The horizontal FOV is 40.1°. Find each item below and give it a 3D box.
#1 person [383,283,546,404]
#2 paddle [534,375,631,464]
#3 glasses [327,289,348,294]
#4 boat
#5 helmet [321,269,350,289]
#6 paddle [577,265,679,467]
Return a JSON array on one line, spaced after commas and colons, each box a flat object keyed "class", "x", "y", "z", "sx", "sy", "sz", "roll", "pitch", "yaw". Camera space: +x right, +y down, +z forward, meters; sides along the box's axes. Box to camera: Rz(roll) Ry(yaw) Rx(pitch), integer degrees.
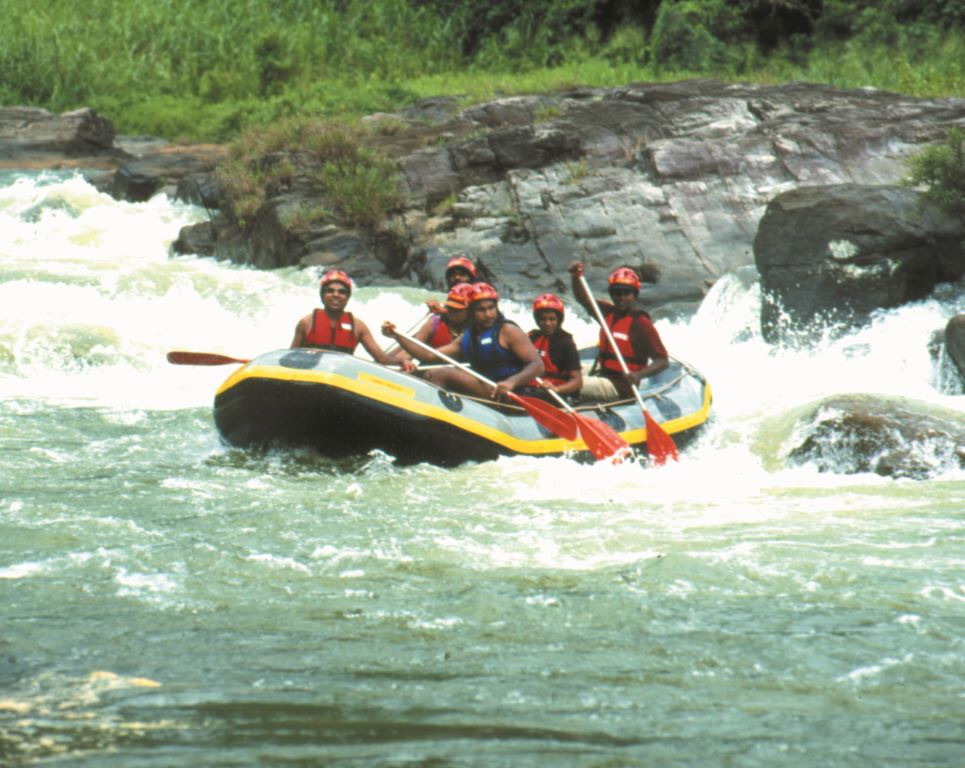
[{"class": "person", "x": -0.215, "y": -0.249, "z": 11.982, "sx": 1.710, "sy": 1.197, "sz": 0.896, "roll": 3, "pitch": 7, "yaw": -22}, {"class": "paddle", "x": 0.900, "y": 0.363, "z": 11.815, "sx": 1.235, "sy": 0.324, "sz": 0.132, "roll": 40, "pitch": -3, "yaw": 21}, {"class": "glasses", "x": -1.349, "y": -0.853, "z": 12.209, "sx": 0.184, "sy": 0.053, "sz": 0.061, "roll": -7, "pitch": 12, "yaw": -38}, {"class": "boat", "x": -0.229, "y": 0.346, "z": 11.796, "sx": 3.051, "sy": 0.496, "sz": 1.662, "roll": 7, "pitch": 3, "yaw": -31}, {"class": "helmet", "x": -1.394, "y": -0.965, "z": 12.227, "sx": 0.231, "sy": 0.160, "sz": 0.176, "roll": 1, "pitch": 10, "yaw": 4}, {"class": "paddle", "x": 1.228, "y": -0.400, "z": 12.584, "sx": 0.440, "sy": 0.218, "sz": 2.856, "roll": 19, "pitch": 34, "yaw": -41}]
